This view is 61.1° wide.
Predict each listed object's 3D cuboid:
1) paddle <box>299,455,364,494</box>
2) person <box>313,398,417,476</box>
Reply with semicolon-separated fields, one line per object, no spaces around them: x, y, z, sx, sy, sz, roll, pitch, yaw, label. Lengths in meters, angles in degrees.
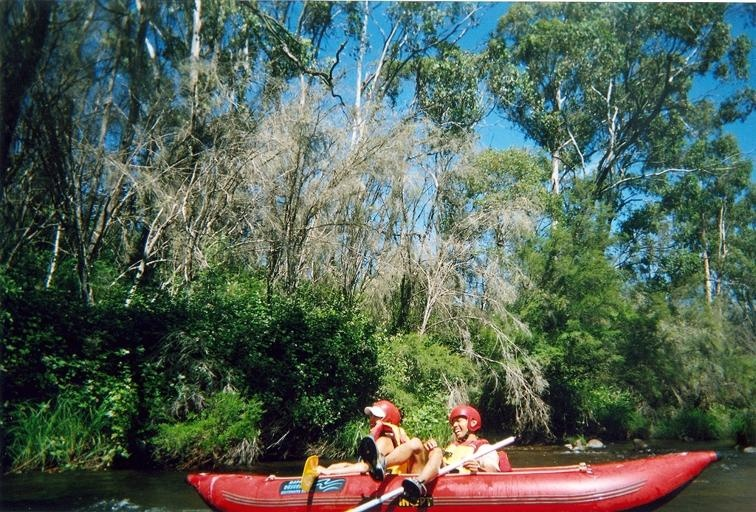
-1.092;4.386;13.327;1.003;0.646;0.636;-5;-56;2;paddle
0.190;3.957;13.522;1.339;1.089;1.928;-18;-32;22;person
